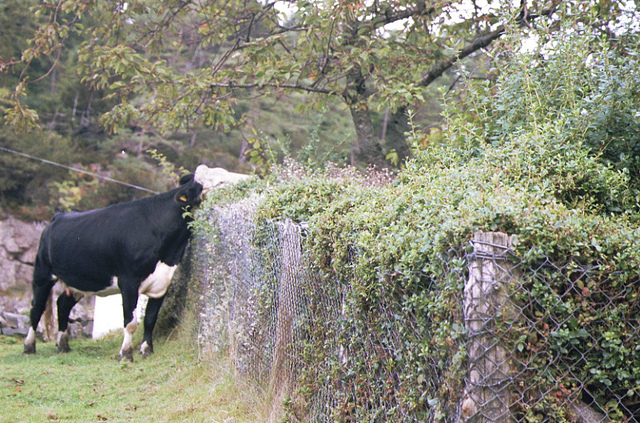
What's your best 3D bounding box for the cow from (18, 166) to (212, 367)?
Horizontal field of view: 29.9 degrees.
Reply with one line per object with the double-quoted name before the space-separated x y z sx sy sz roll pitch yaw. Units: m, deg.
"cow" -4.418 1.127 26.017 4.275 4.280 2.056 0 -3 33
